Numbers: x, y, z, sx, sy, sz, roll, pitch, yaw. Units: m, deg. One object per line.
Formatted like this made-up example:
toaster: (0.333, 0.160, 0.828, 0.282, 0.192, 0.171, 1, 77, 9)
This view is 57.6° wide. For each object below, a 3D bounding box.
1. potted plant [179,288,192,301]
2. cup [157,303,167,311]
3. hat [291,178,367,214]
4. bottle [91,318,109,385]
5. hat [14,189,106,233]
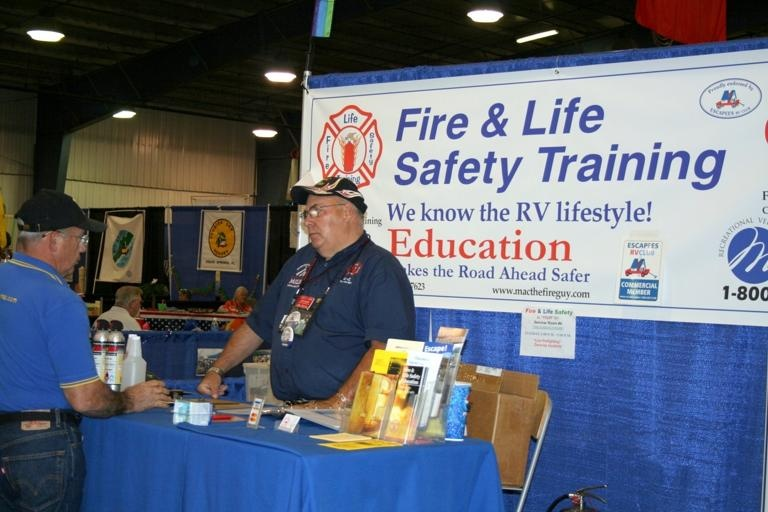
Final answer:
potted plant: (-4.085, 0.769, 14.281, 0.197, 0.176, 0.220, 1, -11, -1)
cup: (-3.841, 0.873, 12.046, 0.098, 0.175, 0.162, 1, 4, -3)
hat: (-0.261, -0.301, 3.312, 0.295, 0.162, 0.193, 7, -8, -7)
bottle: (-1.273, 0.433, 3.151, 0.099, 0.286, 0.098, 0, -5, 0)
hat: (-1.384, -0.195, 3.004, 0.231, 0.188, 0.359, 4, 8, 43)
